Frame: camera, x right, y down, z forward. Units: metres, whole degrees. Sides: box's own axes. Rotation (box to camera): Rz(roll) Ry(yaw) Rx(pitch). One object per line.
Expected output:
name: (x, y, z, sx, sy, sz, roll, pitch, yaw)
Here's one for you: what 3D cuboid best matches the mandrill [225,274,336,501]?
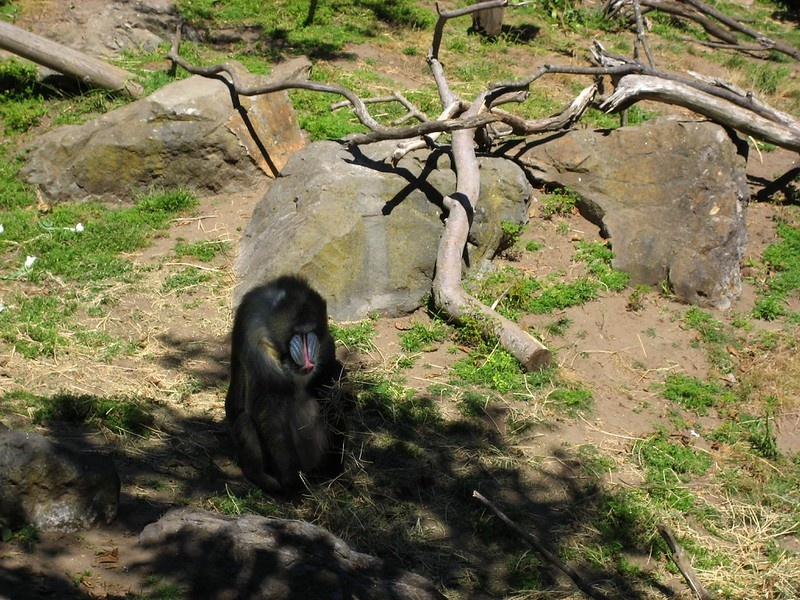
mandrill: (-1.348, 0.995, 15.420, 1.308, 2.458, 0.624, 4, 19, -7)
